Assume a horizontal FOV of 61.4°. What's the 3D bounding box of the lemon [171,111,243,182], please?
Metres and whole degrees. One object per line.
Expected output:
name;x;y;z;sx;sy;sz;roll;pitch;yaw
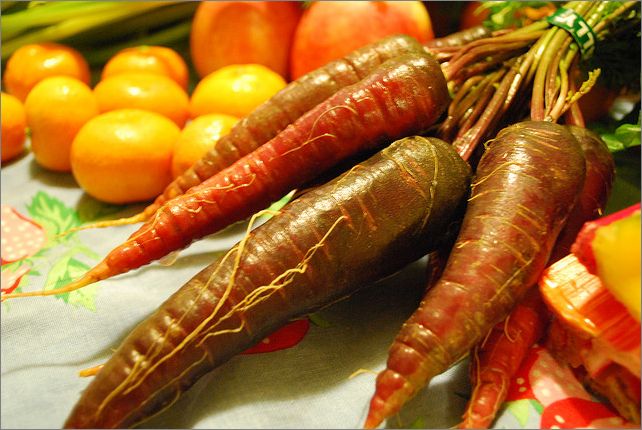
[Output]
lemon;-0.243;-0.152;1.183;0.145;0.133;0.164;-11;-7;-23

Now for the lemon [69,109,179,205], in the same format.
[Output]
lemon;-0.400;-0.119;1.101;0.203;0.146;0.210;-3;18;18

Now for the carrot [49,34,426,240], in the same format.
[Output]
carrot;-0.168;-0.138;1.062;0.732;0.104;0.109;-32;9;3

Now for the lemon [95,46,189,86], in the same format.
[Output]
lemon;-0.442;-0.342;1.335;0.147;0.136;0.136;-18;18;-41

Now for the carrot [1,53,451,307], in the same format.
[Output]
carrot;-0.175;-0.050;1.017;0.757;0.126;0.137;-30;50;-9

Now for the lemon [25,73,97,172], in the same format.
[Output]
lemon;-0.556;-0.189;1.164;0.185;0.211;0.178;-3;6;-26
